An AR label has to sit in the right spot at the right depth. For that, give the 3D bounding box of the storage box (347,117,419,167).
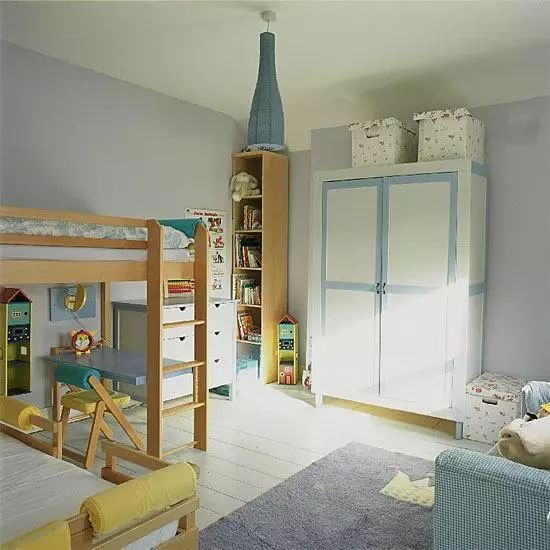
[{"bbox_3d":[0.906,-1.003,3.965,0.550,0.241,0.564,-1,10,19],"label":"storage box"}]

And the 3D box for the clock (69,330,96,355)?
[{"bbox_3d":[-1.389,0.480,3.685,0.169,0.176,0.066,1,-4,-44],"label":"clock"}]

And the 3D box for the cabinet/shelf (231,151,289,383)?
[{"bbox_3d":[-0.142,-0.113,5.142,0.569,2.239,0.521,4,5,36],"label":"cabinet/shelf"}]

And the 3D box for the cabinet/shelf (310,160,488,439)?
[{"bbox_3d":[0.859,0.119,3.854,1.209,1.848,0.307,4,5,33],"label":"cabinet/shelf"}]

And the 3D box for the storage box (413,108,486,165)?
[{"bbox_3d":[1.248,-0.962,3.700,0.387,0.331,0.470,3,5,30],"label":"storage box"}]

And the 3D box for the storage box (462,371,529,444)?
[{"bbox_3d":[1.391,0.967,3.511,0.404,0.325,0.307,8,-16,4],"label":"storage box"}]

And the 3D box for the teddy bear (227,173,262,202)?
[{"bbox_3d":[-0.318,-0.859,5.081,0.320,0.273,0.104,-4,8,-27],"label":"teddy bear"}]
